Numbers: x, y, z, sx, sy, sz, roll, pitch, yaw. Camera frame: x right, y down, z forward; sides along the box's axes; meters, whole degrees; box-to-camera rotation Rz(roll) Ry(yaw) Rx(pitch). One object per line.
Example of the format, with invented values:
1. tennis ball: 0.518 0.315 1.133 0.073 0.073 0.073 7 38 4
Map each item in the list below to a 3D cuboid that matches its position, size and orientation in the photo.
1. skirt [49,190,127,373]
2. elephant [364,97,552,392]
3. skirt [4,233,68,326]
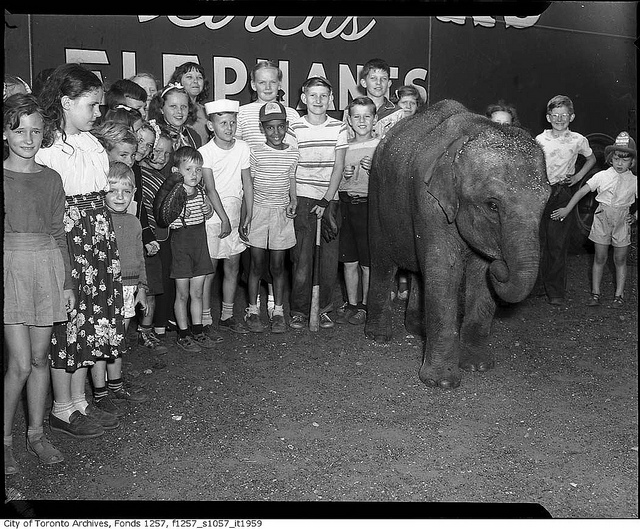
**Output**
1. skirt: -1.454 0.099 3.593 0.145 1.068 0.492 10 17 36
2. elephant: 1.116 -0.192 5.024 0.975 2.183 2.392 -4 13 -14
3. skirt: -1.569 0.078 3.162 0.330 0.516 0.169 -9 16 -34
